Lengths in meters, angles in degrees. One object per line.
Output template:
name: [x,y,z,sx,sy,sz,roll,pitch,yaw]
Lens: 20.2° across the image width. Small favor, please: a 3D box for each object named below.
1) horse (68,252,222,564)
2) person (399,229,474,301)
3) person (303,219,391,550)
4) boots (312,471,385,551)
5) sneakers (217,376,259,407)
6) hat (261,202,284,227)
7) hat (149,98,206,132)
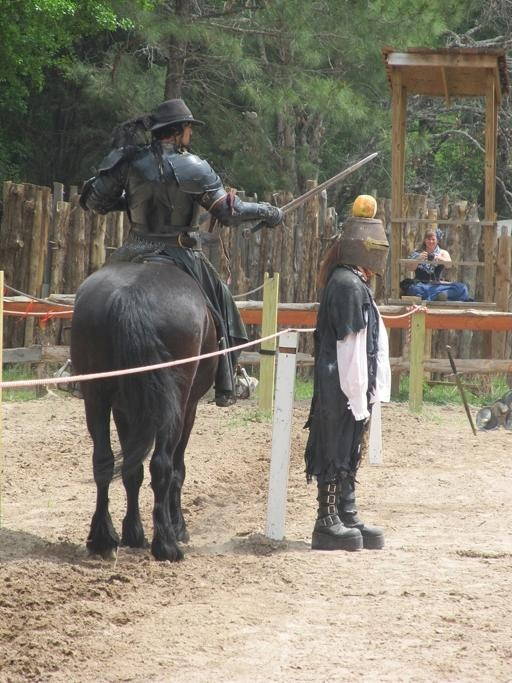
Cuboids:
horse: [-0.759,0.065,9.619,0.727,2.262,2.598,2,6,-3]
person: [1.928,-0.772,15.517,0.693,0.847,0.532,-7,-10,6]
person: [0.584,0.262,9.211,0.533,1.684,0.459,1,1,2]
boots: [0.586,1.091,9.238,0.421,0.588,0.416,-3,-5,17]
sneakers: [-0.167,0.480,14.496,0.218,0.123,0.305,-21,2,34]
hat: [0.114,-0.811,9.244,0.092,0.087,0.221,-8,6,9]
hat: [-0.533,-1.444,9.151,0.228,0.126,0.224,-10,10,10]
